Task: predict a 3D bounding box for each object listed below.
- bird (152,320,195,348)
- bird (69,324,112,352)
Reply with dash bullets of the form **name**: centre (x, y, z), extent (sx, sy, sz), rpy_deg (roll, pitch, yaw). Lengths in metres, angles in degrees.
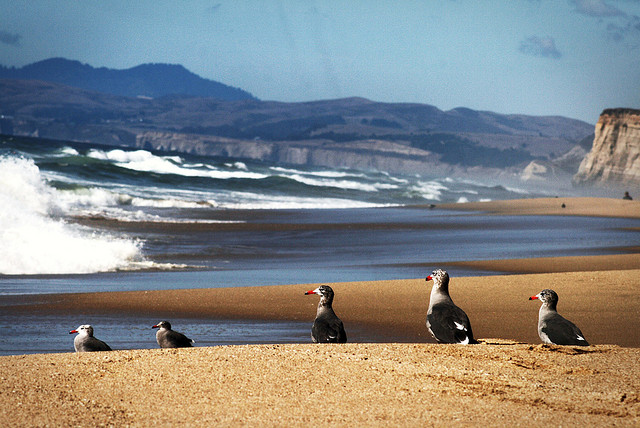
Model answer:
- **bird**: centre (-3.438, 2.872, 25.551), extent (1.140, 0.715, 0.518), rpy_deg (4, -2, -23)
- **bird**: centre (-5.322, 2.867, 25.160), extent (0.938, 0.567, 0.566), rpy_deg (4, 11, 32)
